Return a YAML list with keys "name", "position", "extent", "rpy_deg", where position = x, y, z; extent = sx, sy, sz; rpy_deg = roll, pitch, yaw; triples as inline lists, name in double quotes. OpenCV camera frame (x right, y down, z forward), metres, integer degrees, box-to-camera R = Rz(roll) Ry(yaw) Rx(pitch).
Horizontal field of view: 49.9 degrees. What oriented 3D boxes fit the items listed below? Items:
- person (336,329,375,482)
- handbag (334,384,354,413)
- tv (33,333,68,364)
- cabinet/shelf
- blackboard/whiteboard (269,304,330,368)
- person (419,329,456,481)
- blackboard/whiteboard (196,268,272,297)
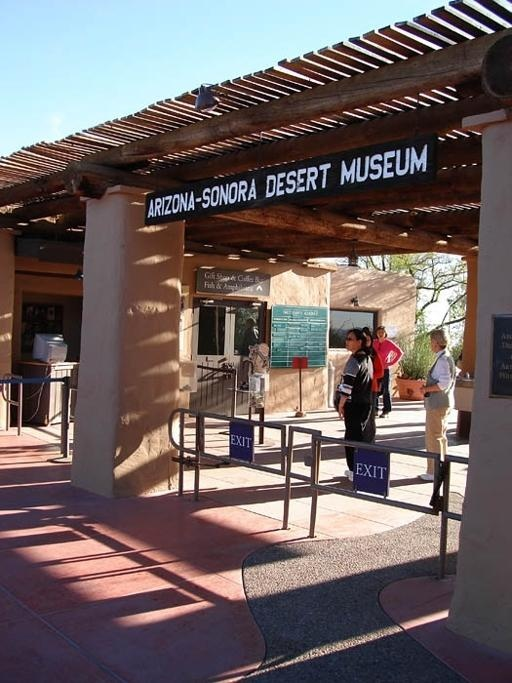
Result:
- name: "person"
  position: [1.137, 0.714, 6.382]
  extent: [0.414, 1.799, 0.969]
  rpy_deg: [0, -4, 11]
- name: "handbag"
  position: [1.032, 0.666, 6.456]
  extent: [0.193, 0.356, 0.666]
  rpy_deg: [0, -4, 10]
- name: "tv"
  position: [-3.662, 0.145, 10.026]
  extent: [0.563, 0.537, 0.563]
  rpy_deg: [-4, 9, -41]
- name: "cabinet/shelf"
  position: [-3.942, 0.998, 10.007]
  extent: [0.808, 0.973, 0.719]
  rpy_deg: [-2, -6, 16]
- name: "blackboard/whiteboard"
  position: [1.049, -0.103, 12.884]
  extent: [1.605, 1.353, 0.143]
  rpy_deg: [1, -2, 39]
- name: "person"
  position: [2.103, 0.568, 6.336]
  extent: [0.346, 1.432, 0.443]
  rpy_deg: [0, -5, 19]
- name: "blackboard/whiteboard"
  position: [-0.447, -1.219, 11.410]
  extent: [1.867, 0.576, 0.107]
  rpy_deg: [4, -5, -40]
